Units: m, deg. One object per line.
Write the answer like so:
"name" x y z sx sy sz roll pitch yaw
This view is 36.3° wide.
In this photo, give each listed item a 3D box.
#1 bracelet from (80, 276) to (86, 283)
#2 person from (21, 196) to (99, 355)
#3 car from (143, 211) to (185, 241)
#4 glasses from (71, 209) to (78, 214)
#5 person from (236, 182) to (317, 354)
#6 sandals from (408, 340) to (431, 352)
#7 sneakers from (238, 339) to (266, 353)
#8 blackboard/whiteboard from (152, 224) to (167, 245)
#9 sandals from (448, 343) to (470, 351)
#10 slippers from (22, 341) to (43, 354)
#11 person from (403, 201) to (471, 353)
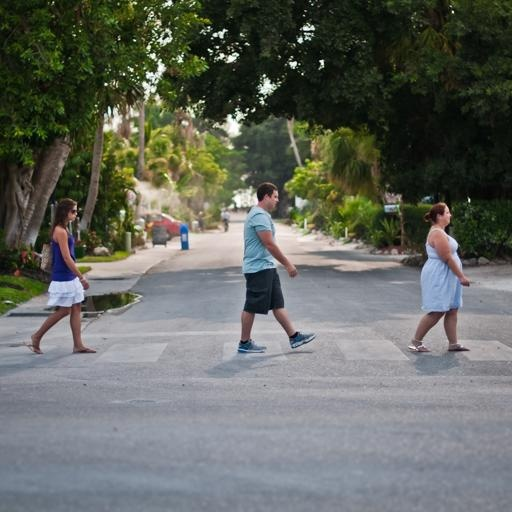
"bracelet" -2.021 0.271 9.085 0.062 0.023 0.057 45 -8 -4
"person" -2.308 0.239 9.203 0.711 1.805 0.641 -3 4 -27
"car" -5.398 -1.758 45.480 2.208 1.095 1.266 5 5 -5
"glasses" -2.170 -0.530 9.253 0.018 0.060 0.055 2 0 28
"person" 0.168 0.130 9.215 0.790 1.978 1.183 -1 4 -1
"sandals" 1.895 1.048 9.065 0.189 0.081 0.104 -1 10 2
"sneakers" -0.042 1.046 9.090 0.313 0.154 0.138 1 -1 -10
"blackboard/whiteboard" -4.689 -0.981 37.986 0.699 1.015 1.376 -2 4 -9
"sandals" 2.361 1.057 9.035 0.243 0.106 0.085 -2 7 1
"slippers" -2.661 1.088 9.278 0.158 0.067 0.055 36 21 4
"person" 2.170 0.248 9.067 0.688 1.705 0.604 1 4 34
